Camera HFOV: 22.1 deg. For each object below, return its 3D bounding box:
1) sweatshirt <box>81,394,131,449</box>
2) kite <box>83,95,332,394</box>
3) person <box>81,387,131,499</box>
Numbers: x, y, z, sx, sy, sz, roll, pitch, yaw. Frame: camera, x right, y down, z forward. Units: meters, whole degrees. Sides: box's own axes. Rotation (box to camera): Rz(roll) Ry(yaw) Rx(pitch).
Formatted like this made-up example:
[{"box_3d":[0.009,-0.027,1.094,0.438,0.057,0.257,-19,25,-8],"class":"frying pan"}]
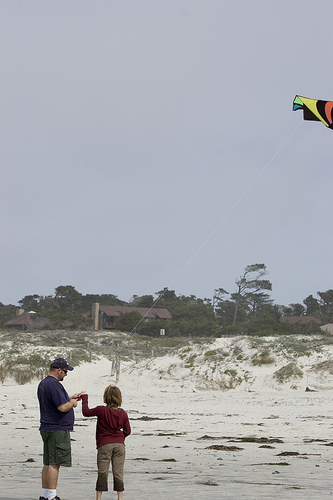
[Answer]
[{"box_3d":[-0.426,1.245,6.052,0.328,0.306,0.128,0,-12,-11],"class":"sweatshirt"},{"box_3d":[1.111,0.067,11.428,1.093,4.493,1.430,26,8,-29],"class":"kite"},{"box_3d":[-0.423,1.355,6.032,0.336,0.764,0.249,-1,-12,-6],"class":"person"}]
